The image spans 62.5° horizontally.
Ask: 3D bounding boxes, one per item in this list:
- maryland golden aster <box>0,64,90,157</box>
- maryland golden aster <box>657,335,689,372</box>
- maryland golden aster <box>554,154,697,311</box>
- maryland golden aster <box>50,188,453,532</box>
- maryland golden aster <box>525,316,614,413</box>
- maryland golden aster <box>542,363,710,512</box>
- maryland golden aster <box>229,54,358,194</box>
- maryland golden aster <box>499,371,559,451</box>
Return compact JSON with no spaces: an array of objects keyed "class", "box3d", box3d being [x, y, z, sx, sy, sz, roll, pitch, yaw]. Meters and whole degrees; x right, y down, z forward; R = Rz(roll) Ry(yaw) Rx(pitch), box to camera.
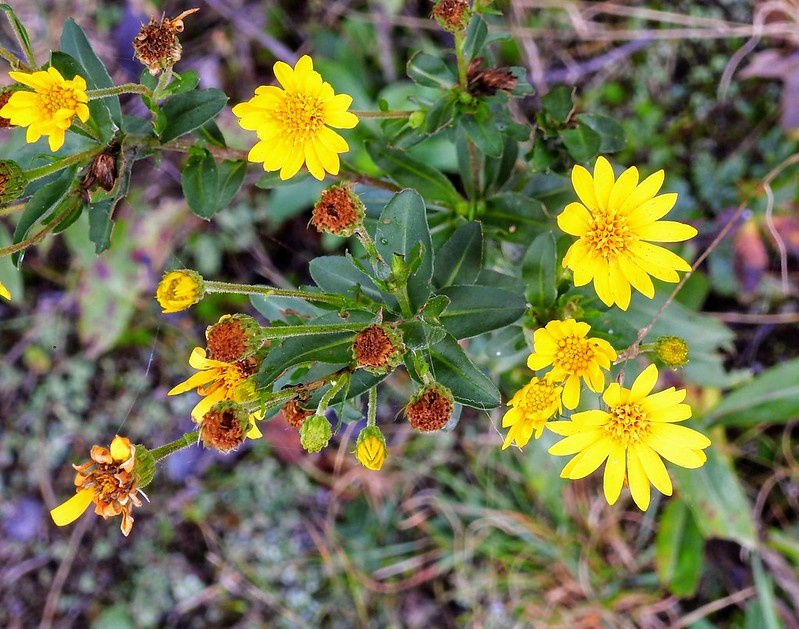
[{"class":"maryland golden aster","box3d":[-1.049,-0.605,2.029,0.232,0.103,0.258,41,104,5]},{"class":"maryland golden aster","box3d":[0.862,0.130,2.074,0.098,0.043,0.106,-21,78,8]},{"class":"maryland golden aster","box3d":[0.634,-0.232,2.012,0.441,0.175,0.474,-27,49,24]},{"class":"maryland golden aster","box3d":[-0.418,0.312,2.265,1.254,0.382,0.918,-38,78,-1]},{"class":"maryland golden aster","box3d":[0.519,0.140,2.011,0.218,0.145,0.268,-42,83,-3]},{"class":"maryland golden aster","box3d":[0.710,0.337,2.027,0.442,0.196,0.469,-24,30,-20]},{"class":"maryland golden aster","box3d":[-0.327,-0.623,2.081,0.348,0.130,0.372,38,90,-17]},{"class":"maryland golden aster","box3d":[0.408,0.310,2.054,0.147,0.257,0.110,32,41,11]}]
